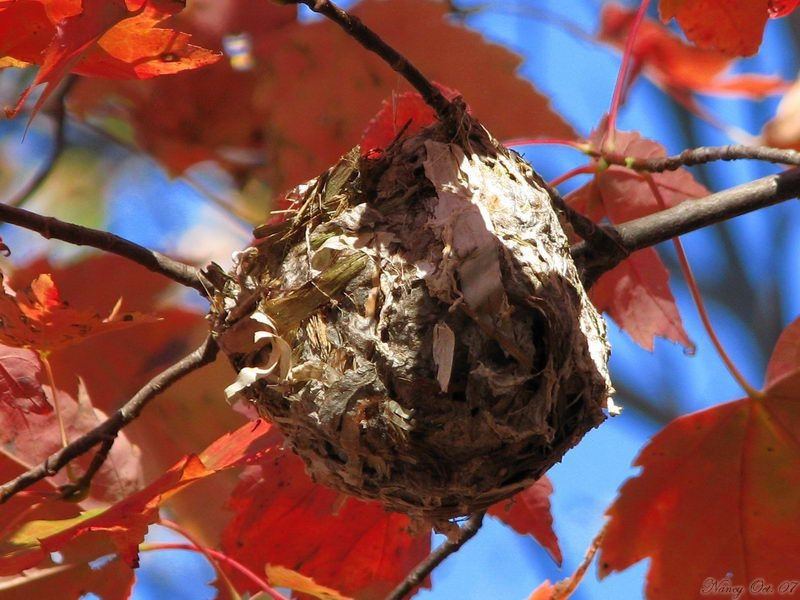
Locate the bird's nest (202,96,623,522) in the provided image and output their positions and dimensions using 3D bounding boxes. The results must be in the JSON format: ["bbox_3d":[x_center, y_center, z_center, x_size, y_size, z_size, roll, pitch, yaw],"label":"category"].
[{"bbox_3d":[0.028,-0.141,3.541,0.988,0.880,0.488,-23,-40,30],"label":"bird's nest"}]
